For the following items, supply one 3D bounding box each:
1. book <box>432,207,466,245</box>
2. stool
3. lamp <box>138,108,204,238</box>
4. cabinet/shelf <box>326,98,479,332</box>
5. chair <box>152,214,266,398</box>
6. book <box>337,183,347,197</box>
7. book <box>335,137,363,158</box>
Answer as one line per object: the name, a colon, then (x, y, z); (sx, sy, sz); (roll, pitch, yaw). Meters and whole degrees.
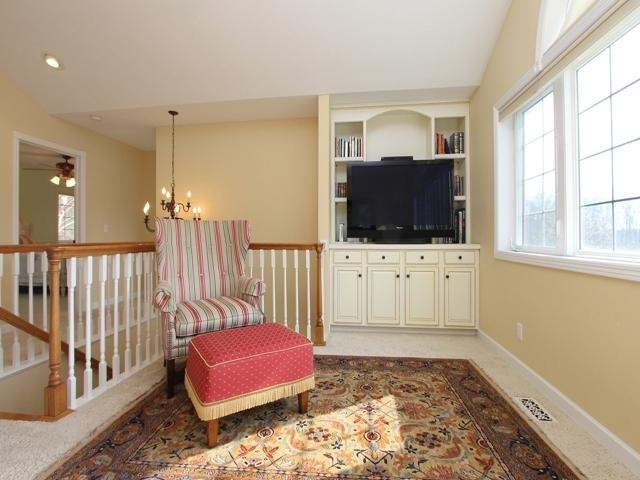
book: (1.463, -0.136, 5.302); (0.363, 0.485, 0.497); (0, 1, 3)
stool: (-0.598, 0.916, 3.519); (0.988, 0.669, 0.726); (0, -3, -33)
lamp: (-1.908, -0.840, 5.767); (0.690, 1.500, 2.676); (-2, 3, -19)
cabinet/shelf: (0.994, -0.259, 5.260); (1.690, 2.510, 0.657); (-1, 0, 17)
chair: (-1.031, 0.486, 4.075); (1.011, 1.389, 0.894); (-2, 3, -42)
book: (0.243, -0.603, 5.444); (0.134, 0.186, 0.191); (3, -3, 7)
book: (0.331, -1.053, 5.209); (0.323, 0.305, 0.234); (0, 0, 4)
